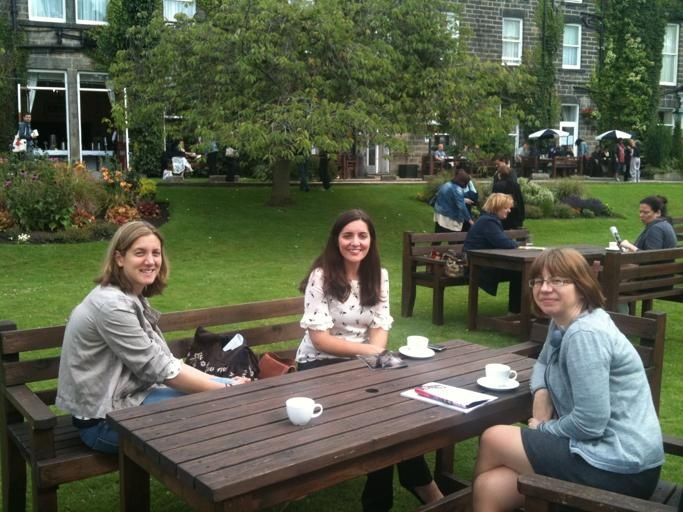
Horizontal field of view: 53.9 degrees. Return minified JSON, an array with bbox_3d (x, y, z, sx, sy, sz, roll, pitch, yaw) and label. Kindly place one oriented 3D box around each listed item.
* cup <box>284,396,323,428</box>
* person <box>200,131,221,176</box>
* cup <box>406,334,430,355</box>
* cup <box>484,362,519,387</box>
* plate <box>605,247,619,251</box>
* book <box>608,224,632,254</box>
[{"bbox_3d":[-0.214,0.791,3.533,0.172,0.102,0.135,2,-3,-17],"label":"cup"},{"bbox_3d":[-5.005,-4.051,25.694,0.589,1.882,0.542,-2,6,42],"label":"person"},{"bbox_3d":[0.511,0.595,4.537,0.115,0.078,0.112,0,10,0],"label":"cup"},{"bbox_3d":[0.976,0.699,4.004,0.164,0.121,0.133,0,3,8],"label":"cup"},{"bbox_3d":[3.450,-0.090,8.479,0.108,0.023,0.110,-3,7,-24],"label":"plate"},{"bbox_3d":[5.084,-0.326,12.210,0.189,0.826,0.219,-23,-27,12],"label":"book"}]
